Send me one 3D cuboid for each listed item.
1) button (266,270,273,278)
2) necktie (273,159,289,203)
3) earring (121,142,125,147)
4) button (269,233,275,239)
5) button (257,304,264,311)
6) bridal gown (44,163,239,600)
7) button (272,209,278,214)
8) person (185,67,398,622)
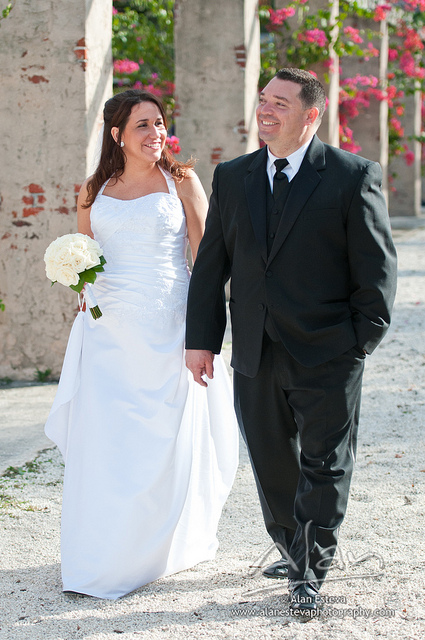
[{"bbox_3d":[0.197,-0.160,3.344,0.029,0.024,0.006,-2,-3,1],"label":"button"},{"bbox_3d":[0.242,-0.489,3.382,0.054,0.141,0.058,0,13,-3],"label":"necktie"},{"bbox_3d":[-0.377,-0.731,4.029,0.011,0.016,0.046,-2,11,-10],"label":"earring"},{"bbox_3d":[0.208,-0.292,3.365,0.019,0.020,0.006,9,16,35],"label":"button"},{"bbox_3d":[0.169,-0.043,3.387,0.029,0.023,0.003,11,17,42],"label":"button"},{"bbox_3d":[-0.311,0.237,4.021,0.851,1.708,0.587,5,-6,-35],"label":"bridal gown"},{"bbox_3d":[0.218,-0.377,3.365,0.020,0.015,0.004,9,16,36],"label":"button"},{"bbox_3d":[0.282,0.055,3.466,0.449,1.848,0.728,-9,16,-36],"label":"person"}]
